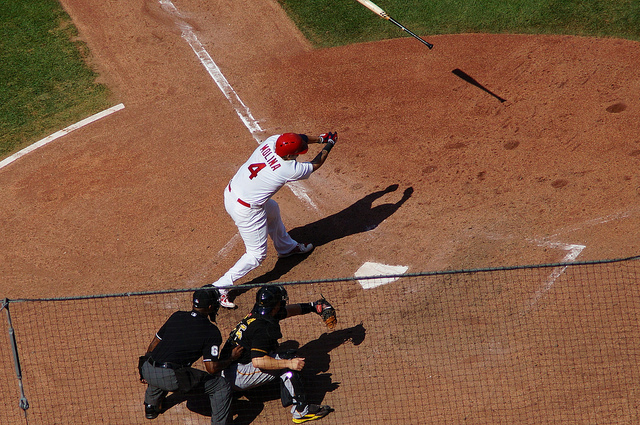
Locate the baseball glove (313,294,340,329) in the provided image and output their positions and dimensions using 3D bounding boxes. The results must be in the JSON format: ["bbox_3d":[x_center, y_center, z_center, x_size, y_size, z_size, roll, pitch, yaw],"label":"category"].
[{"bbox_3d":[0.251,1.987,23.569,0.296,0.486,0.593,-30,90,-19],"label":"baseball glove"}]
